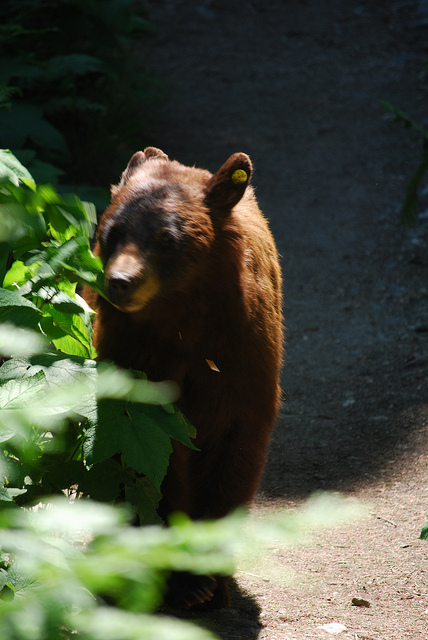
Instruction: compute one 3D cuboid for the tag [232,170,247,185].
[{"bbox_3d":[0.070,-0.395,1.805,0.042,0.036,0.009,-11,8,-17],"label":"tag"}]
